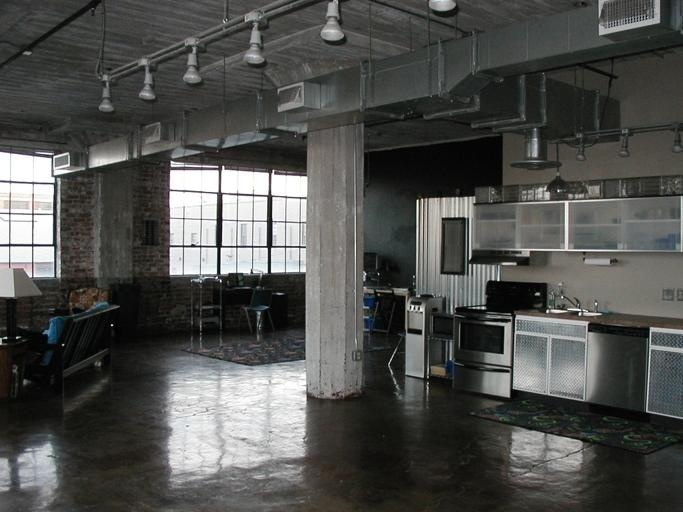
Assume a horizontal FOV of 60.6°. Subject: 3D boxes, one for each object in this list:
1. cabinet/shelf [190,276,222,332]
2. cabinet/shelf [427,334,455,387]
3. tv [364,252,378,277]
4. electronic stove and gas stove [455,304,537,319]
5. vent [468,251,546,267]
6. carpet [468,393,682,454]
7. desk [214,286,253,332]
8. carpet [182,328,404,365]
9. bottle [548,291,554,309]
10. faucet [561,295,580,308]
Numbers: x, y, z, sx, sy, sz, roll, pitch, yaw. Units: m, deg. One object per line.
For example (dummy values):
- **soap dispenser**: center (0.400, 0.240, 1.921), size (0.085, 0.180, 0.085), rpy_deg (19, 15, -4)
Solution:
- **cabinet/shelf**: center (-3.127, 1.118, 13.535), size (0.761, 1.276, 0.511), rpy_deg (-1, 3, -15)
- **cabinet/shelf**: center (1.501, 1.558, 8.917), size (0.336, 0.665, 0.464), rpy_deg (0, 3, 7)
- **tv**: center (0.632, 0.200, 12.753), size (0.503, 0.485, 0.067), rpy_deg (-3, -3, 42)
- **electronic stove and gas stove**: center (2.091, 0.795, 8.107), size (1.049, 0.144, 0.456), rpy_deg (2, 3, 29)
- **vent**: center (2.444, 0.028, 8.695), size (1.112, 0.201, 0.257), rpy_deg (1, 3, 25)
- **carpet**: center (2.757, 1.953, 6.815), size (2.075, 0.062, 1.148), rpy_deg (2, 3, 39)
- **desk**: center (-2.425, 1.160, 14.074), size (1.182, 1.150, 0.859), rpy_deg (-1, 1, -24)
- **carpet**: center (-0.891, 1.795, 11.719), size (4.308, 0.116, 3.815), rpy_deg (0, 3, -7)
- **bottle**: center (3.008, 0.634, 8.388), size (0.101, 0.229, 0.211), rpy_deg (1, 3, 19)
- **faucet**: center (3.255, 0.657, 8.308), size (0.048, 0.171, 0.268), rpy_deg (-3, 4, -45)
